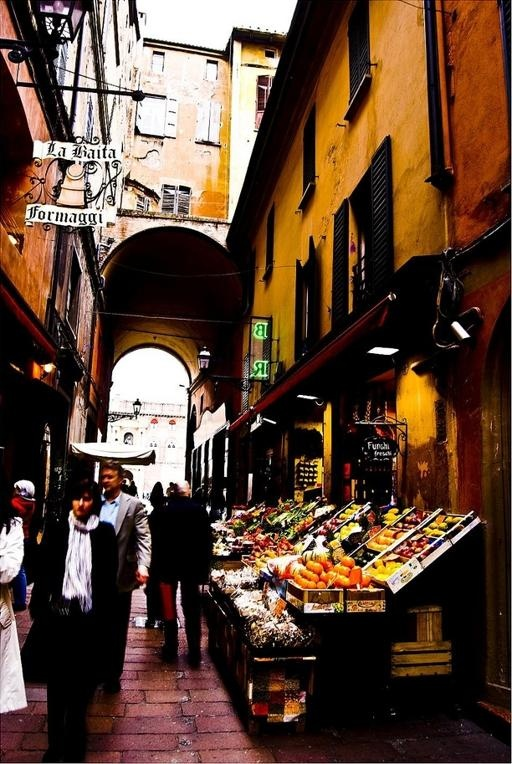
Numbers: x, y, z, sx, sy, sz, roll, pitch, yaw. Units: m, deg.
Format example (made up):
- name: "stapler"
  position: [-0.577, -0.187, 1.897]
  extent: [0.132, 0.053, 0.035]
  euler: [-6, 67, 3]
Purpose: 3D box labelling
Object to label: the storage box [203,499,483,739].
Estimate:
- name: "storage box"
  position: [0.647, 1.684, 4.043]
  extent: [0.701, 0.866, 1.559]
  euler: [2, -14, -4]
